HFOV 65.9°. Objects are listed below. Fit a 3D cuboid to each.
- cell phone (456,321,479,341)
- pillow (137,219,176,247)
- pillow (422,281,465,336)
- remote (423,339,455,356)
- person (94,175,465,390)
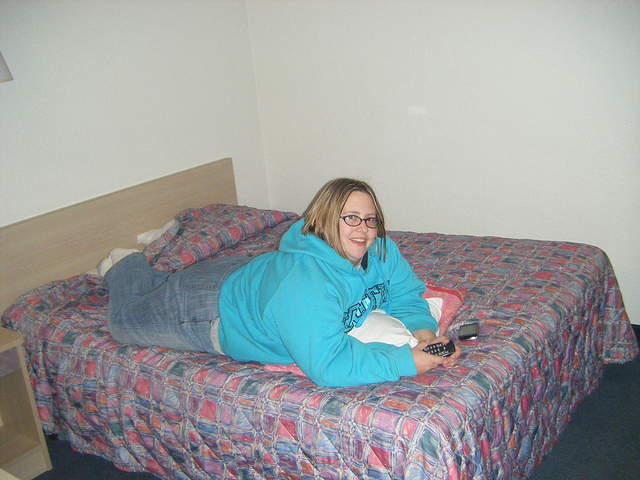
[{"bbox_3d":[0.681,0.418,2.265,0.081,0.020,0.081,-10,27,19],"label":"cell phone"},{"bbox_3d":[-1.135,-0.041,3.371,0.223,0.079,0.195,-26,8,8],"label":"pillow"},{"bbox_3d":[0.614,0.333,2.498,0.205,0.058,0.210,12,35,22],"label":"pillow"},{"bbox_3d":[0.499,0.448,2.046,0.113,0.019,0.051,-8,57,1],"label":"remote"},{"bbox_3d":[-0.081,0.109,2.331,1.772,0.783,0.828,6,16,21],"label":"person"}]
